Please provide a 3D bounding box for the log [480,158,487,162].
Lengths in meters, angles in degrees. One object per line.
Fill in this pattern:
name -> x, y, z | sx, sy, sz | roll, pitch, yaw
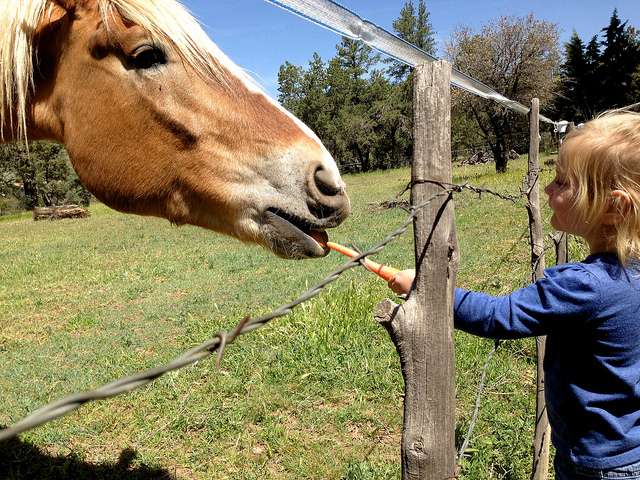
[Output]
log -> 9.096, -4.629, 35.147 | 0.207, 0.173, 0.670 | 2, 13, 38

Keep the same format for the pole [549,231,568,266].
pole -> 2.353, 0.056, 6.235 | 0.156, 0.401, 0.385 | -1, 9, 19

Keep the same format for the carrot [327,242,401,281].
carrot -> 0.530, 0.246, 7.640 | 0.960, 0.185, 0.186 | 32, 22, 14

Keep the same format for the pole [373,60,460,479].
pole -> 0.751, 0.235, 4.720 | 0.592, 3.087, 0.424 | -3, 7, 6
